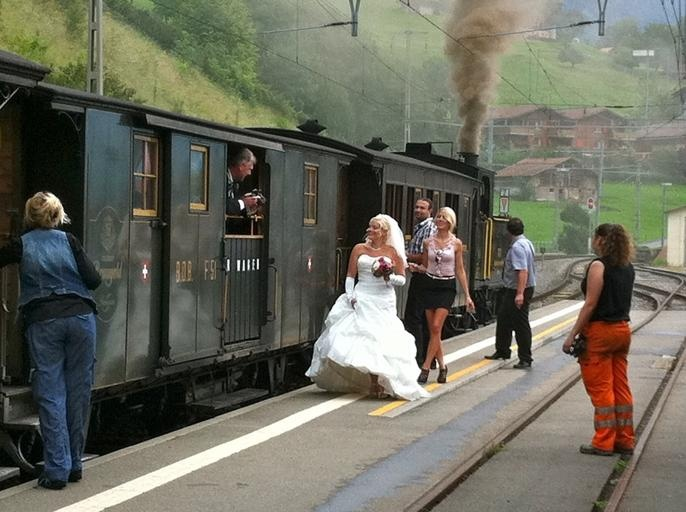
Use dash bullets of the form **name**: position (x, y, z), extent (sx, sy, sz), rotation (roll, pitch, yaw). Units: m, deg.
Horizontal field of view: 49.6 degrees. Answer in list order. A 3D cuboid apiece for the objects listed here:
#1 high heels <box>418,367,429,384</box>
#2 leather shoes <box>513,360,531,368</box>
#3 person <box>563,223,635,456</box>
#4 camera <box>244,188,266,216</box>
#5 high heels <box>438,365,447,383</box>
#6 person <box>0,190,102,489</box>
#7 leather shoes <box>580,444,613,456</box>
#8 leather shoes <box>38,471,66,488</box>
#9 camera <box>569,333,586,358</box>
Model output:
- **high heels**: position (1.119, 1.644, 10.262), extent (0.086, 0.115, 0.280), rotation (1, 18, 16)
- **leather shoes**: position (2.874, 1.731, 11.896), extent (0.308, 0.148, 0.108), rotation (9, -10, -39)
- **person**: position (2.671, 0.857, 7.629), extent (0.758, 2.395, 0.414), rotation (2, 4, 5)
- **camera**: position (-1.157, -0.748, 9.925), extent (0.358, 0.273, 0.136), rotation (-30, 12, -29)
- **high heels**: position (1.396, 1.662, 10.420), extent (0.186, 0.233, 0.602), rotation (-1, -3, 9)
- **person**: position (-2.541, 0.715, 6.561), extent (0.719, 2.548, 0.634), rotation (1, 5, -16)
- **leather shoes**: position (2.608, 1.968, 7.636), extent (0.311, 0.163, 0.123), rotation (-2, 0, 26)
- **leather shoes**: position (-2.513, 1.960, 6.457), extent (0.208, 0.168, 0.123), rotation (-1, -1, 12)
- **camera**: position (2.385, 0.919, 7.522), extent (0.155, 0.224, 0.062), rotation (23, 4, -35)
